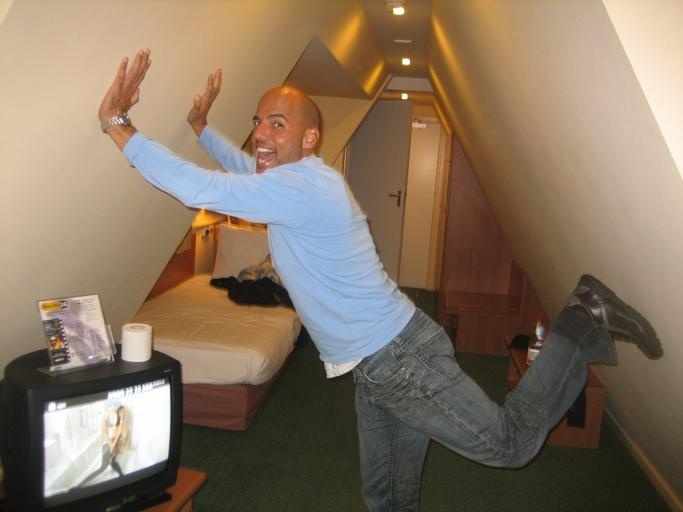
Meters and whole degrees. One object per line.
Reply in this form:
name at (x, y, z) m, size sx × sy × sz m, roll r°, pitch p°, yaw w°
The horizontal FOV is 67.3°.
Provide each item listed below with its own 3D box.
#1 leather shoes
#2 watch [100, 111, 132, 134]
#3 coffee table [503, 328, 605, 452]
leather shoes at (1.084, 0.225, 2.091) m, size 0.188 × 0.165 × 0.472 m, roll -44°, pitch 38°, yaw -1°
watch at (-0.695, -0.409, 1.569) m, size 0.098 × 0.060 × 0.059 m, roll 2°, pitch 10°, yaw -5°
coffee table at (1.265, 0.968, 3.088) m, size 0.414 × 0.448 × 0.874 m, roll 3°, pitch 14°, yaw 8°
